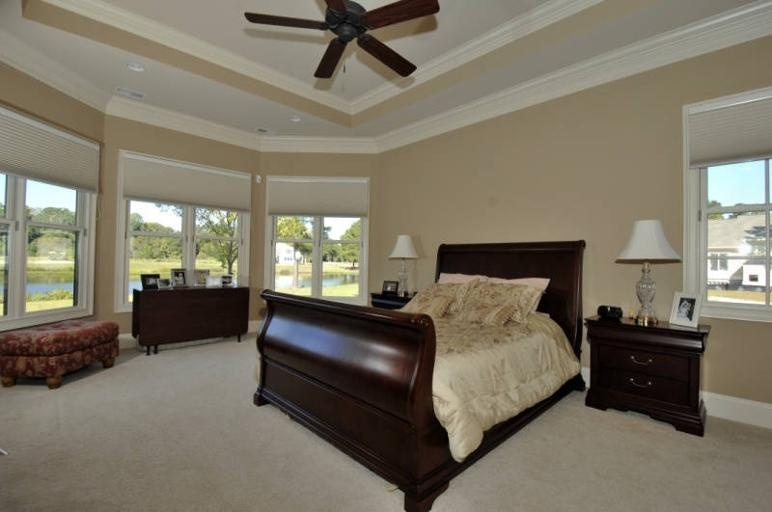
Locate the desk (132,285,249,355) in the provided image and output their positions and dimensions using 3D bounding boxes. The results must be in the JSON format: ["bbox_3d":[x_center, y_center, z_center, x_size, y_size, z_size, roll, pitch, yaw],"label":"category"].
[{"bbox_3d":[-2.825,0.877,7.084,0.486,0.937,1.623,13,8,43],"label":"desk"}]

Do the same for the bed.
[{"bbox_3d":[0.553,1.115,5.468,2.452,2.074,3.029,1,1,44],"label":"bed"}]

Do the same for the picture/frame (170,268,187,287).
[{"bbox_3d":[-2.954,0.313,6.928,0.219,0.303,0.235,4,-11,-37],"label":"picture/frame"}]

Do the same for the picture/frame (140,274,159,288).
[{"bbox_3d":[-3.246,0.346,6.688,0.178,0.179,0.046,1,-16,-41],"label":"picture/frame"}]

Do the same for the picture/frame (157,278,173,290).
[{"bbox_3d":[-3.076,0.392,6.799,0.122,0.157,0.216,-9,-5,30],"label":"picture/frame"}]

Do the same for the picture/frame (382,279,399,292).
[{"bbox_3d":[0.068,0.430,7.289,0.254,0.181,0.148,-4,-14,38],"label":"picture/frame"}]
